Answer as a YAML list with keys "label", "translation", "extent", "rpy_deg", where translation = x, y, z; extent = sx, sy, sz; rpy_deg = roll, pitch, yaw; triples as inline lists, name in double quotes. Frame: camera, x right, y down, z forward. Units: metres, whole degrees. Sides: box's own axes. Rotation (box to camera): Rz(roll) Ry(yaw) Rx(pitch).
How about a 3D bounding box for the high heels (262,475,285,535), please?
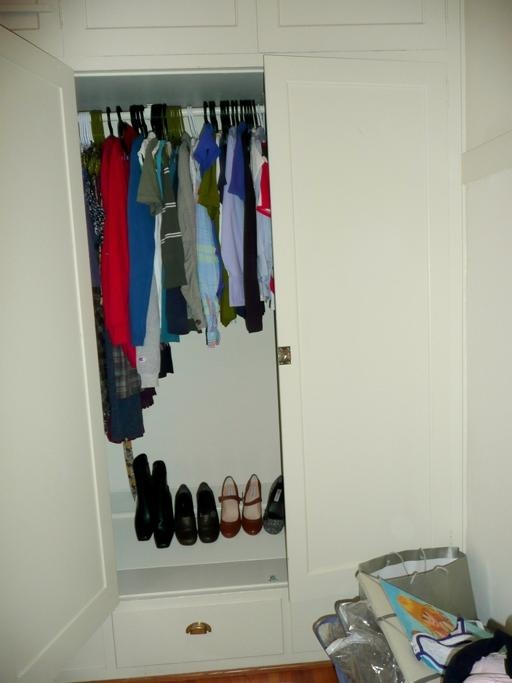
- label: "high heels"
  translation: [0.075, 0.606, 2.309]
  extent: [0.056, 0.055, 0.223]
  rpy_deg: [1, 55, 8]

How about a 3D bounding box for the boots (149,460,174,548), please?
- label: "boots"
  translation: [-0.338, 0.601, 2.307]
  extent: [0.067, 0.118, 0.292]
  rpy_deg: [-1, 43, -2]

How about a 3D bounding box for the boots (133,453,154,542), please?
- label: "boots"
  translation: [-0.403, 0.576, 2.332]
  extent: [0.066, 0.319, 0.113]
  rpy_deg: [-3, -21, 8]

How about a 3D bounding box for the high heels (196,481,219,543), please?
- label: "high heels"
  translation: [-0.181, 0.639, 2.310]
  extent: [0.076, 0.083, 0.296]
  rpy_deg: [-2, 20, -9]

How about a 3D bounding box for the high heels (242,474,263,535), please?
- label: "high heels"
  translation: [-0.015, 0.614, 2.354]
  extent: [0.065, 0.071, 0.252]
  rpy_deg: [-1, 32, 5]

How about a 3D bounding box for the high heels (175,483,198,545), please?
- label: "high heels"
  translation: [-0.267, 0.652, 2.304]
  extent: [0.079, 0.081, 0.327]
  rpy_deg: [-3, 17, -9]

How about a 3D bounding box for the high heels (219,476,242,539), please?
- label: "high heels"
  translation: [-0.097, 0.623, 2.352]
  extent: [0.081, 0.107, 0.325]
  rpy_deg: [-1, 15, -3]
